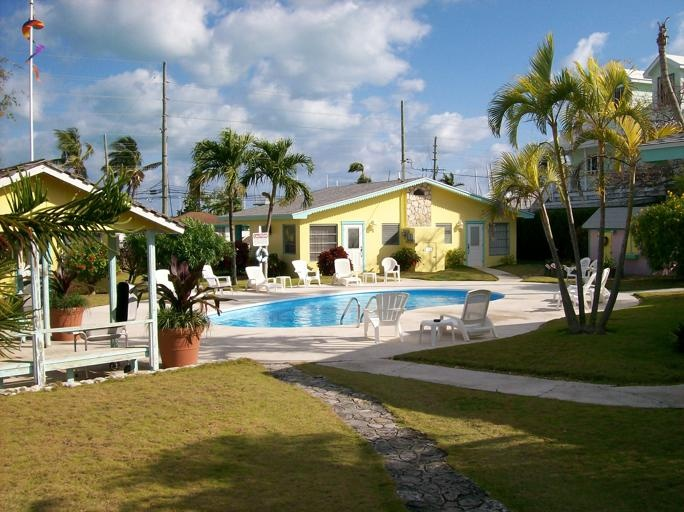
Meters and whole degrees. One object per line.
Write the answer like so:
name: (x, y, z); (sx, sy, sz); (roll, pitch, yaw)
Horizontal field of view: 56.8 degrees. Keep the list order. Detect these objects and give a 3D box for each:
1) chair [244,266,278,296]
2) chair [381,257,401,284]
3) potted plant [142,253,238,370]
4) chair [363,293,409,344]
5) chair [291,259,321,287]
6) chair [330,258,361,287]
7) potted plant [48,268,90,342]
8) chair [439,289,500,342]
chair: (-2.988, 0.868, 23.272); (0.801, 0.688, 1.157); (-2, 6, -45)
chair: (2.155, 0.587, 26.474); (0.965, 1.236, 0.972); (-1, -2, -18)
potted plant: (-2.787, 1.091, 11.344); (1.163, 1.598, 1.421); (2, 5, 13)
chair: (0.852, 1.277, 13.857); (0.868, 0.962, 1.142); (0, -2, -10)
chair: (-1.425, 0.682, 25.252); (0.921, 0.955, 1.181); (-2, 1, -37)
chair: (0.243, 0.697, 24.538); (0.820, 1.001, 1.192); (0, -1, -23)
potted plant: (-6.283, 1.072, 14.316); (0.977, 1.369, 1.068); (7, 10, 27)
chair: (2.503, 1.277, 13.507); (0.890, 1.024, 1.216); (0, -2, -27)
